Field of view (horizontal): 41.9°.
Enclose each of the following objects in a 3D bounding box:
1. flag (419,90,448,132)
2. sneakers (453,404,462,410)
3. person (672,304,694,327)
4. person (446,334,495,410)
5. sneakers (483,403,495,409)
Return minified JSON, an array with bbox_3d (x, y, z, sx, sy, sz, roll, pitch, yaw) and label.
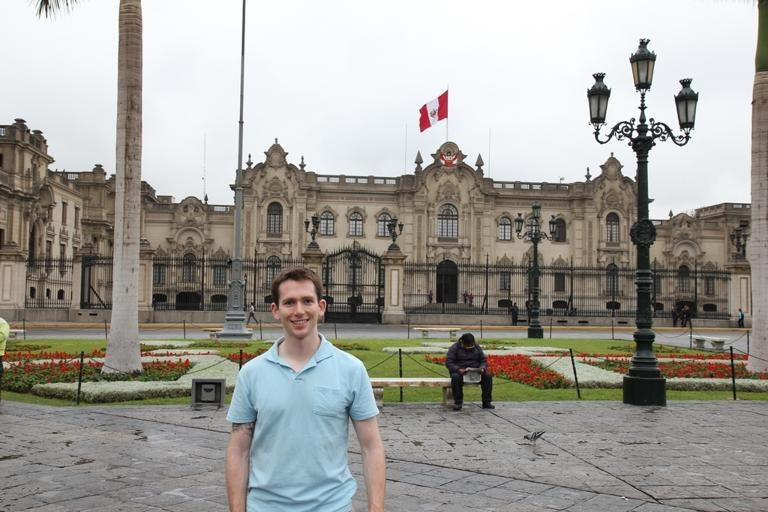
[{"bbox_3d":[2.799,-8.476,57.745,2.229,1.845,0.228,-7,2,39],"label":"flag"},{"bbox_3d":[1.756,3.651,24.285,0.200,0.105,0.284,2,12,4],"label":"sneakers"},{"bbox_3d":[15.206,3.052,51.383,1.163,1.268,0.582,0,-8,-4],"label":"person"},{"bbox_3d":[2.128,2.800,24.778,1.272,1.671,1.290,1,5,13],"label":"person"},{"bbox_3d":[2.520,3.629,24.396,0.292,0.102,0.206,2,12,6],"label":"sneakers"}]
